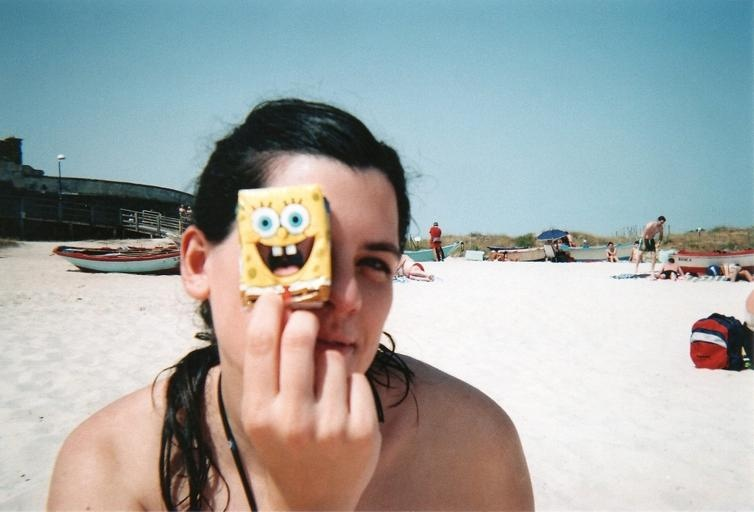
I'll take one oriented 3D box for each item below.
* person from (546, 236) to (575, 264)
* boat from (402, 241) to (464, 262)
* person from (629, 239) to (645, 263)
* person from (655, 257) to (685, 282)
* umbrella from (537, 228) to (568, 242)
[{"bbox_3d":[10.742,-0.408,34.020,1.194,1.308,1.177,4,-21,-14],"label":"person"},{"bbox_3d":[3.026,-0.262,30.051,2.558,1.394,1.082,-8,1,14],"label":"boat"},{"bbox_3d":[12.583,-0.246,27.997,0.376,1.349,0.458,10,-6,34],"label":"person"},{"bbox_3d":[10.344,0.533,20.572,0.731,0.343,1.107,5,47,18],"label":"person"},{"bbox_3d":[10.425,-1.252,34.158,1.555,0.882,1.597,-3,-1,0],"label":"umbrella"}]
